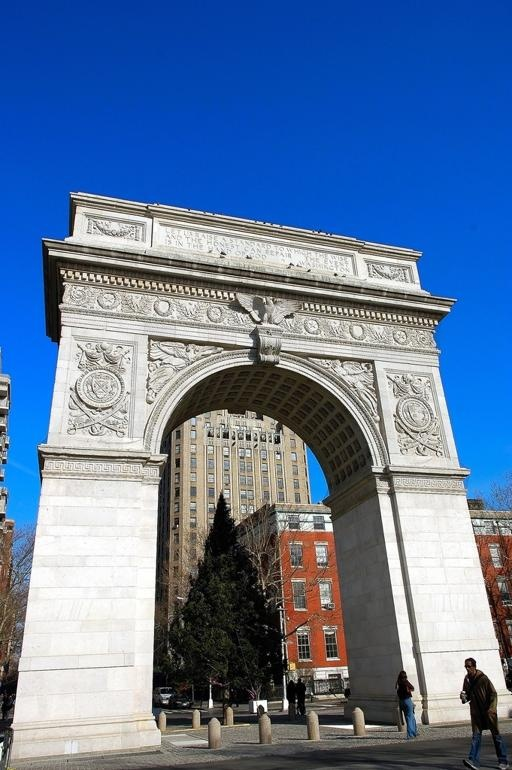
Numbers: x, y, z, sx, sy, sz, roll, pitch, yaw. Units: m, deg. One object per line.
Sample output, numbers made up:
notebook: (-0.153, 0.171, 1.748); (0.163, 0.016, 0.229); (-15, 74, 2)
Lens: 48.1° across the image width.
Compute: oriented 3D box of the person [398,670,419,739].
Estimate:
person: (3.520, 7.457, 13.394); (0.383, 1.360, 0.984); (-11, -24, 9)

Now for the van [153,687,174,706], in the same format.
van: (-6.945, 23.668, 43.476); (1.499, 1.370, 2.708); (5, -31, -13)
